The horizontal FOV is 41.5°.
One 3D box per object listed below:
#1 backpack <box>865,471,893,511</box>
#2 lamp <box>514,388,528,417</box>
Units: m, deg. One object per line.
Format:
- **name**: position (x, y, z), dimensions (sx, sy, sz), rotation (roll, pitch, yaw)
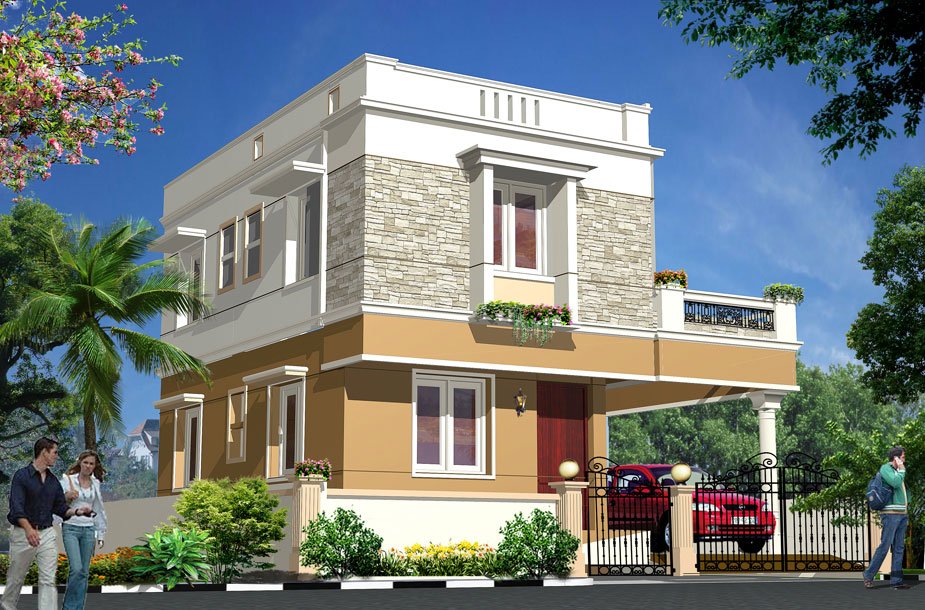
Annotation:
- **backpack**: position (9.100, 4.044, 26.665), dimensions (0.318, 0.535, 0.544), rotation (7, -2, -30)
- **lamp**: position (1.696, 2.783, 34.898), dimensions (0.462, 0.586, 0.199), rotation (8, -3, -44)
